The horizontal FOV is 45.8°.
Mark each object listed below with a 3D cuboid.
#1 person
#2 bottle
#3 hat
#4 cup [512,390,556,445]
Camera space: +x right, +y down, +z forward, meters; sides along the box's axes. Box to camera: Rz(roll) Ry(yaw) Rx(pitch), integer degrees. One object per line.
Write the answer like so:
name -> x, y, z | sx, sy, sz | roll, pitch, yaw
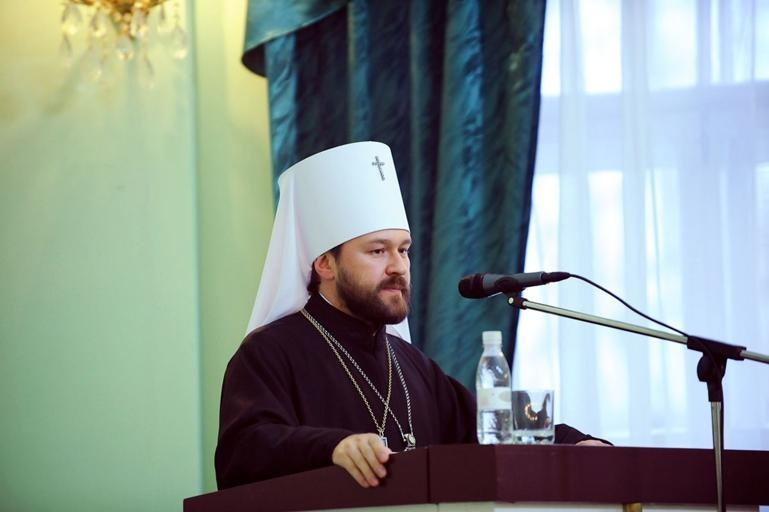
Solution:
person -> 0.050, 0.494, 4.097 | 1.566, 1.441, 1.103 | 15, -29, -43
bottle -> 0.405, 0.479, 3.408 | 0.132, 0.418, 0.358 | -2, -8, 6
hat -> -0.181, -0.200, 4.419 | 0.620, 0.471, 0.587 | -22, -9, 25
cup -> 0.525, 0.568, 3.228 | 0.173, 0.200, 0.176 | -1, -5, 0
